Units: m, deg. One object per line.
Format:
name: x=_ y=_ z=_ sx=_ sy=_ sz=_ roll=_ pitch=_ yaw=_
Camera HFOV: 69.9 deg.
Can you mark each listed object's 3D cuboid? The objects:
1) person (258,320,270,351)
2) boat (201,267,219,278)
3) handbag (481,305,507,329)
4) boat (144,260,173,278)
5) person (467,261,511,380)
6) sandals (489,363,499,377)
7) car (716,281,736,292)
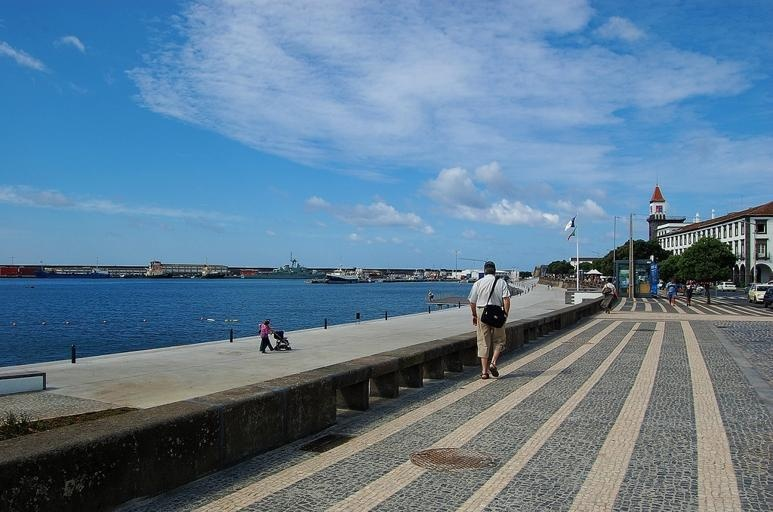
person: x=-4.269 y=2.805 z=19.446 sx=0.339 sy=1.081 sz=0.695 roll=0 pitch=-2 yaw=-12
boat: x=-98.583 y=8.889 z=308.475 sx=8.840 sy=6.029 sz=16.616 roll=0 pitch=-2 yaw=-21
handbag: x=2.238 y=1.242 z=11.550 sx=0.554 sy=0.402 sz=0.283 roll=7 pitch=6 yaw=-3
boat: x=-133.525 y=8.055 z=323.061 sx=12.973 sy=8.748 sz=17.138 roll=0 pitch=-2 yaw=-22
person: x=2.204 y=1.381 z=11.832 sx=0.828 sy=2.508 sz=0.710 roll=-1 pitch=-2 yaw=2
sandals: x=2.332 y=2.452 z=11.978 sx=0.182 sy=0.355 sz=0.140 roll=7 pitch=49 yaw=34
car: x=51.530 y=4.519 z=83.380 sx=2.010 sy=1.202 sz=3.650 roll=-1 pitch=-2 yaw=22
